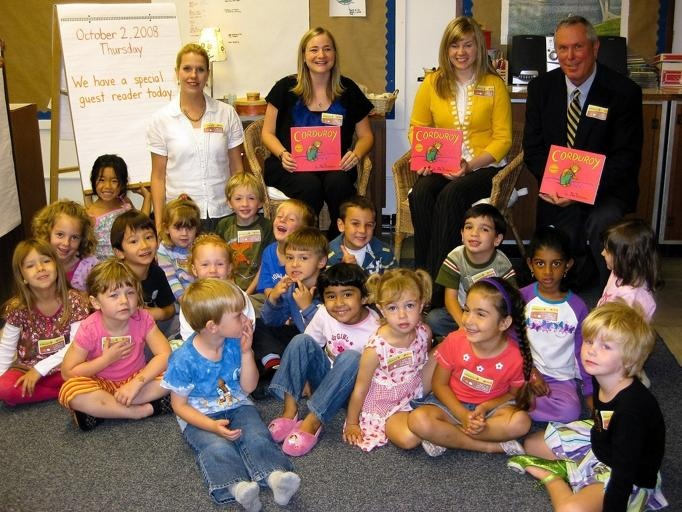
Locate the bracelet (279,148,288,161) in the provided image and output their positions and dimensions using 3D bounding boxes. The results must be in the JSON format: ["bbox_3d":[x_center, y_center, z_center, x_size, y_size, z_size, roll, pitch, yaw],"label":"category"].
[{"bbox_3d":[-0.414,-0.722,3.928,0.034,0.074,0.094,-11,24,-15],"label":"bracelet"}]

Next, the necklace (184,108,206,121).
[{"bbox_3d":[-1.045,-1.013,3.879,0.104,0.109,0.026,-11,-7,-18],"label":"necklace"}]

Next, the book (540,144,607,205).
[{"bbox_3d":[1.448,-0.498,3.376,0.293,0.284,0.032,22,13,28],"label":"book"}]

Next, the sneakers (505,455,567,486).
[{"bbox_3d":[0.824,0.870,2.314,0.225,0.091,0.081,14,4,35],"label":"sneakers"}]

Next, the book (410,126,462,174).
[{"bbox_3d":[0.663,-0.731,3.767,0.288,0.272,0.042,7,9,24],"label":"book"}]

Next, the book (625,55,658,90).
[{"bbox_3d":[2.450,-1.512,4.454,0.323,0.293,0.117,0,-4,7],"label":"book"}]

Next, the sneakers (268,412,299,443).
[{"bbox_3d":[-0.271,0.787,2.529,0.075,0.048,0.140,20,48,30],"label":"sneakers"}]

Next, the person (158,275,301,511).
[{"bbox_3d":[-0.494,0.644,2.449,0.407,0.725,0.716,-14,37,-30],"label":"person"}]

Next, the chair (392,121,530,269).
[{"bbox_3d":[0.783,-0.444,4.166,0.958,1.287,0.926,7,12,37],"label":"chair"}]

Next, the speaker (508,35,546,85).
[{"bbox_3d":[1.594,-1.644,4.702,0.287,0.450,0.235,1,-10,4],"label":"speaker"}]

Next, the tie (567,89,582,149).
[{"bbox_3d":[1.537,-0.885,3.548,0.100,0.457,0.024,7,51,26],"label":"tie"}]

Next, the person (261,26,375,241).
[{"bbox_3d":[-0.120,-0.817,4.066,0.774,1.645,0.898,-7,23,-23],"label":"person"}]

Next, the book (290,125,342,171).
[{"bbox_3d":[-0.183,-0.768,3.887,0.281,0.272,0.042,-2,9,-6],"label":"book"}]

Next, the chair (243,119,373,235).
[{"bbox_3d":[-0.262,-0.739,4.239,0.865,1.250,0.875,-3,15,-12],"label":"chair"}]
